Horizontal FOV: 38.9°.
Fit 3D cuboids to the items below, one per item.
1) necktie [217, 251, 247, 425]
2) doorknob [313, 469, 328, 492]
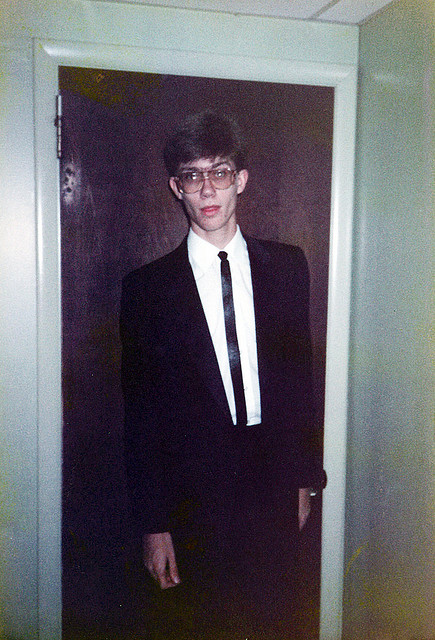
[{"bbox_3d":[0.038,0.046,1.481,0.044,0.513,0.055,-3,-2,-12],"label":"necktie"},{"bbox_3d":[0.260,0.410,1.581,0.039,0.045,0.052,0,19,3],"label":"doorknob"}]
